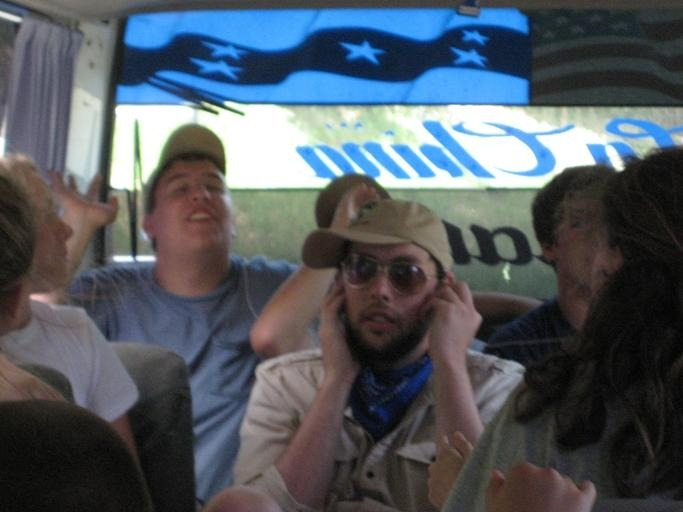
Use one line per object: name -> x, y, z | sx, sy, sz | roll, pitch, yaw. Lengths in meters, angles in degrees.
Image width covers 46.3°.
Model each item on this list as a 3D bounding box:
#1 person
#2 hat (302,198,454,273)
person -> 0.042, 0.192, 2.345 | 1.303, 0.433, 1.560 | 0, 46, -5
hat -> 0.112, -0.042, 2.572 | 0.361, 0.193, 0.264 | 14, -22, -2
